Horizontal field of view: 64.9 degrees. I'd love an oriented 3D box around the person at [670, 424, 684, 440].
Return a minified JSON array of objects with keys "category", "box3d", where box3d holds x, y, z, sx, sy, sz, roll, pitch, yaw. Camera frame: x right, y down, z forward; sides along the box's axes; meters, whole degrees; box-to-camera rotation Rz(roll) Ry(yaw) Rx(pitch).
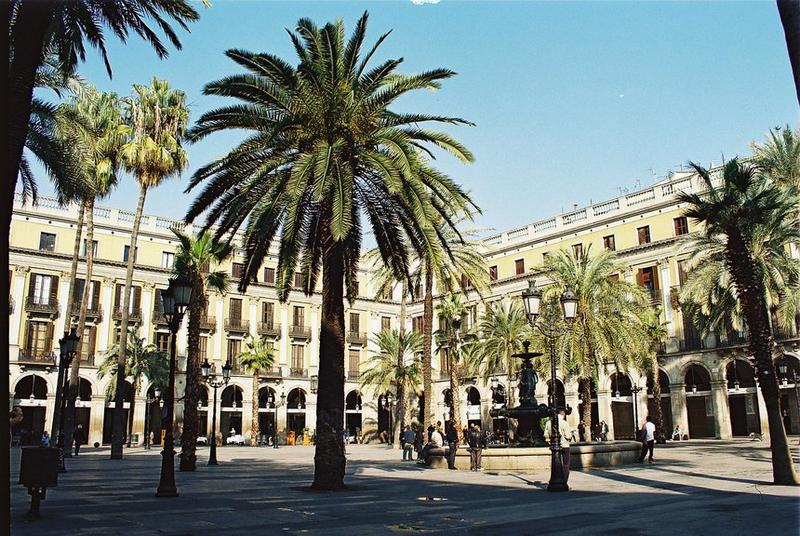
[{"category":"person","box3d":[21.159,12.517,48.117,0.804,1.273,2.040,-7,-17,18]}]
